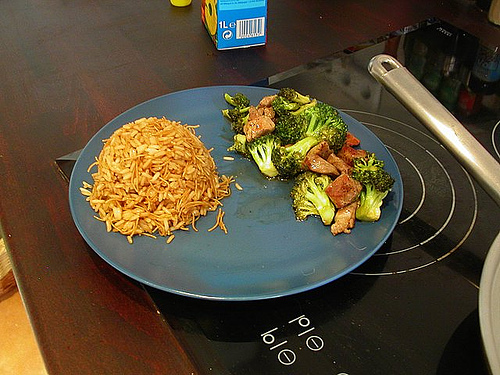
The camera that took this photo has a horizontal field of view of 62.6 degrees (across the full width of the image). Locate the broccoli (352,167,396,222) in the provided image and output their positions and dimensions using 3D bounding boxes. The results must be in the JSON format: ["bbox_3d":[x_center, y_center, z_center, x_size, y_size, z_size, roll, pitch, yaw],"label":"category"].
[{"bbox_3d":[0.342,0.018,1.172,0.118,0.167,0.139,13,16,27],"label":"broccoli"}]

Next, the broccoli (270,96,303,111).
[{"bbox_3d":[0.127,-0.267,1.376,0.079,0.046,0.053,2,48,-23],"label":"broccoli"}]

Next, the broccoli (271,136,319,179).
[{"bbox_3d":[0.138,-0.075,1.329,0.149,0.066,0.108,-32,61,-24],"label":"broccoli"}]

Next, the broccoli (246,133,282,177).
[{"bbox_3d":[0.055,-0.112,1.294,0.100,0.055,0.129,-16,57,-7],"label":"broccoli"}]

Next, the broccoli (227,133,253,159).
[{"bbox_3d":[-0.029,-0.136,1.333,0.074,0.020,0.080,-11,66,22],"label":"broccoli"}]

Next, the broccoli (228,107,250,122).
[{"bbox_3d":[-0.038,-0.252,1.394,0.063,0.034,0.041,-20,56,-18],"label":"broccoli"}]

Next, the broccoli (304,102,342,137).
[{"bbox_3d":[0.228,-0.231,1.360,0.115,0.124,0.111,0,10,-13],"label":"broccoli"}]

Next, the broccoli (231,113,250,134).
[{"bbox_3d":[-0.036,-0.210,1.387,0.039,0.032,0.063,43,64,8],"label":"broccoli"}]

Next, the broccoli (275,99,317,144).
[{"bbox_3d":[0.149,-0.202,1.407,0.160,0.079,0.106,-36,71,-11],"label":"broccoli"}]

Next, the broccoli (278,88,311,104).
[{"bbox_3d":[0.157,-0.312,1.413,0.087,0.045,0.058,13,50,-16],"label":"broccoli"}]

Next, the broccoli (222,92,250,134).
[{"bbox_3d":[-0.046,-0.243,1.451,0.090,0.051,0.140,-19,68,-20],"label":"broccoli"}]
